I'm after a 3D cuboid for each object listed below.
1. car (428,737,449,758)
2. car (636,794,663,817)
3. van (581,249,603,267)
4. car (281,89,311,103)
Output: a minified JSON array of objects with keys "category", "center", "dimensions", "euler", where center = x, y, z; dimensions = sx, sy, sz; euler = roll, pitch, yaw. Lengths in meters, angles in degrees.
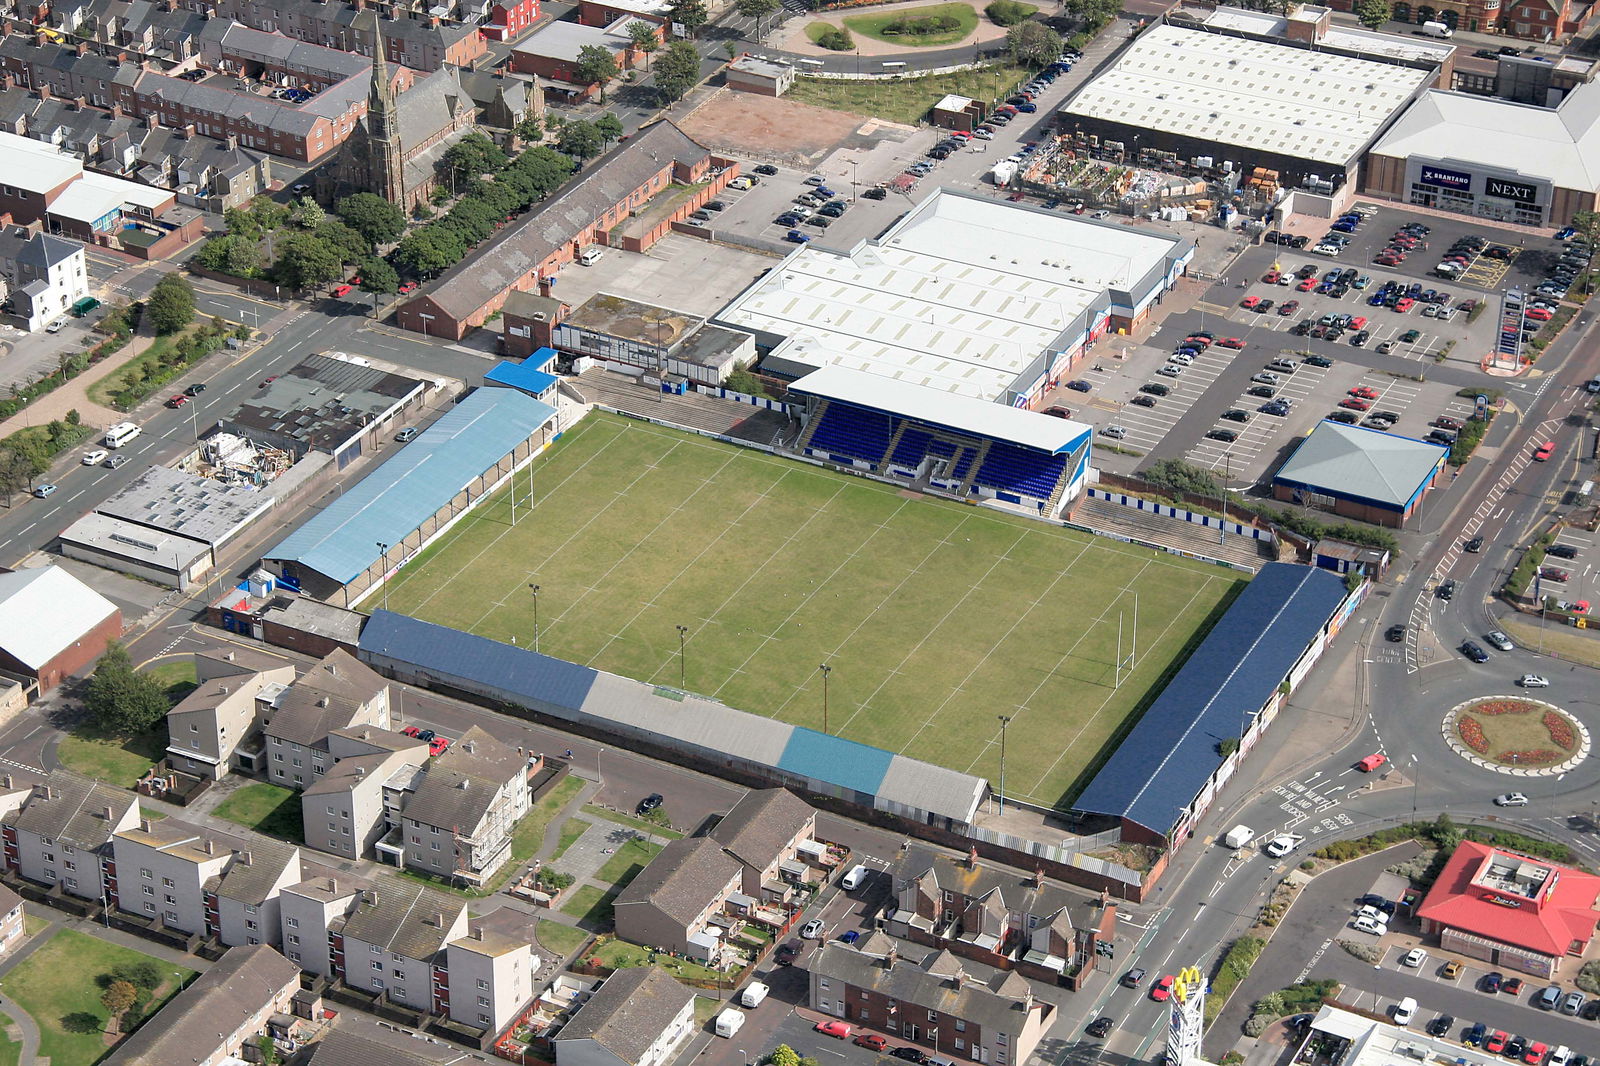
[{"category":"car","center":[-41.044,23.700,400.757],"dimensions":[2.226,0.797,2.215],"euler":[28,49,28]},{"category":"car","center":[-17.123,30.080,394.656],"dimensions":[2.359,0.879,3.617],"euler":[20,33,19]},{"category":"van","center":[-28.352,-37.219,469.909],"dimensions":[2.596,1.195,2.904],"euler":[9,31,2]},{"category":"car","center":[-71.259,-62.602,498.464],"dimensions":[3.939,1.158,5.483],"euler":[1,32,-11]}]
